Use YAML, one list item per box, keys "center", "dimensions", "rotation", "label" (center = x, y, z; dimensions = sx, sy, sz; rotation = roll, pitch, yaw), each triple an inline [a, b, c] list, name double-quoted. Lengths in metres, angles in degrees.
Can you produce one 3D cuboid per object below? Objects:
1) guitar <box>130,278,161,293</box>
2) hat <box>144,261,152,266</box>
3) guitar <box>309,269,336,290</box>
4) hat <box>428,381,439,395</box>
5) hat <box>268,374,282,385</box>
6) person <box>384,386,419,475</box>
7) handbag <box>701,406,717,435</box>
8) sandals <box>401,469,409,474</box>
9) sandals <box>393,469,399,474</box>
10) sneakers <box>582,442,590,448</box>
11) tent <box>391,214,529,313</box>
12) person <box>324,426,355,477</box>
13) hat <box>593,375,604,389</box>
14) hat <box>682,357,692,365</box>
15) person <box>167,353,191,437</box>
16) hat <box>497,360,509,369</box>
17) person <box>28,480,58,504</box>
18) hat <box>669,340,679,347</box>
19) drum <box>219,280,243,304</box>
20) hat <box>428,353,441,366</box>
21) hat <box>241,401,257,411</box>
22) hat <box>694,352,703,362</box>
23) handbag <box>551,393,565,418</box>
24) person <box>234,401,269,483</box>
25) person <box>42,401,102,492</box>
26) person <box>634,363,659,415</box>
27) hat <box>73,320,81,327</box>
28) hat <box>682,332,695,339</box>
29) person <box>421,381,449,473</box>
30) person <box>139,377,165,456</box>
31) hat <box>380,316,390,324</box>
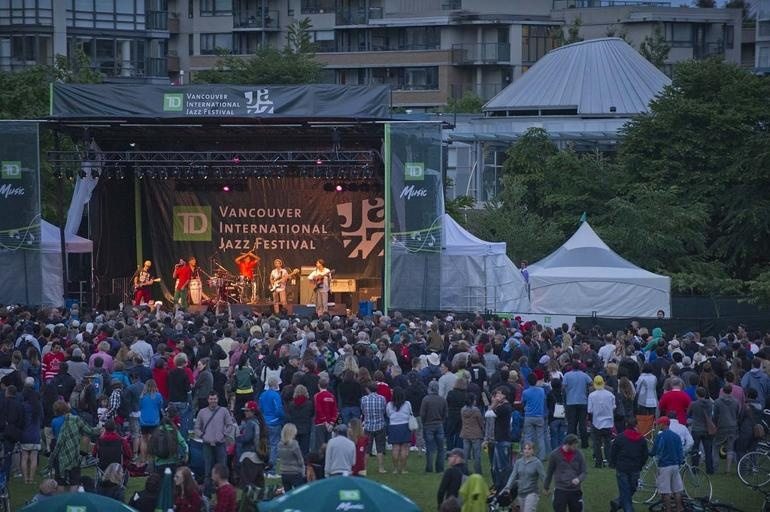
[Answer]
- center: [-10.688, 1.194, 83.946]
  dimensions: [0.895, 0.690, 0.310]
  rotation: [-25, 1, 3]
  label: "guitar"
- center: [-10.469, 0.269, 83.954]
  dimensions: [0.286, 0.277, 0.237]
  rotation: [3, 32, -22]
  label: "hat"
- center: [-2.844, 0.954, 83.174]
  dimensions: [0.937, 1.038, 0.617]
  rotation: [0, 2, -17]
  label: "guitar"
- center: [1.720, 4.782, 68.788]
  dimensions: [0.403, 0.421, 0.431]
  rotation: [1, -6, 4]
  label: "hat"
- center: [-3.950, 4.489, 68.311]
  dimensions: [0.286, 0.363, 0.956]
  rotation: [0, 1, 13]
  label: "hat"
- center: [0.533, 6.351, 68.761]
  dimensions: [1.036, 3.171, 0.838]
  rotation: [0, 2, -2]
  label: "person"
- center: [11.573, 5.965, 68.311]
  dimensions: [0.349, 1.001, 1.011]
  rotation: [-11, 3, 4]
  label: "handbag"
- center: [0.679, 7.911, 68.783]
  dimensions: [0.102, 0.152, 0.232]
  rotation: [3, 5, 20]
  label: "sandals"
- center: [0.375, 7.885, 68.824]
  dimensions: [0.173, 0.171, 0.183]
  rotation: [1, -2, -10]
  label: "sandals"
- center: [7.375, 7.053, 70.224]
  dimensions: [0.238, 0.207, 0.209]
  rotation: [-1, -3, -36]
  label: "sneakers"
- center: [2.477, 0.151, 83.233]
  dimensions: [7.475, 4.202, 7.626]
  rotation: [2, -9, -6]
  label: "tent"
- center: [-1.589, 6.850, 66.006]
  dimensions: [1.101, 1.737, 0.684]
  rotation: [0, 2, -3]
  label: "person"
- center: [7.661, 4.557, 68.399]
  dimensions: [0.396, 0.429, 0.440]
  rotation: [3, 11, 11]
  label: "hat"
- center: [11.011, 3.830, 69.649]
  dimensions: [0.259, 0.287, 0.295]
  rotation: [3, 19, 5]
  label: "hat"
- center: [-7.441, 5.059, 68.736]
  dimensions: [0.864, 3.090, 0.561]
  rotation: [0, 2, -6]
  label: "person"
- center: [4.274, 3.947, 68.845]
  dimensions: [0.419, 0.261, 0.261]
  rotation: [1, 3, -15]
  label: "hat"
- center: [-11.820, 8.108, 65.167]
  dimensions: [0.807, 1.010, 1.065]
  rotation: [7, 12, 8]
  label: "person"
- center: [10.721, 3.236, 70.793]
  dimensions: [0.360, 0.306, 0.603]
  rotation: [0, 1, 8]
  label: "hat"
- center: [-6.861, 1.541, 84.396]
  dimensions: [1.066, 1.003, 0.818]
  rotation: [0, -1, -10]
  label: "drum"
- center: [1.743, 3.793, 69.748]
  dimensions: [0.473, 0.467, 0.326]
  rotation: [0, 2, -7]
  label: "hat"
- center: [-4.784, 5.301, 66.763]
  dimensions: [0.418, 0.224, 0.303]
  rotation: [5, 5, 20]
  label: "hat"
- center: [11.445, 3.725, 69.657]
  dimensions: [0.296, 0.369, 0.379]
  rotation: [9, 15, 26]
  label: "hat"
- center: [6.195, 5.461, 68.715]
  dimensions: [0.939, 0.893, 0.337]
  rotation: [-3, 3, -43]
  label: "handbag"
- center: [-4.666, 6.644, 66.544]
  dimensions: [1.023, 3.001, 1.476]
  rotation: [0, 2, -5]
  label: "person"
- center: [-11.049, 6.777, 66.910]
  dimensions: [1.524, 3.282, 1.077]
  rotation: [0, 2, -10]
  label: "person"
- center: [9.506, 4.874, 69.257]
  dimensions: [0.791, 1.942, 0.585]
  rotation: [0, 2, 6]
  label: "person"
- center: [-11.675, 2.543, 71.897]
  dimensions: [0.238, 0.123, 0.233]
  rotation: [-2, 5, -31]
  label: "hat"
- center: [11.738, 3.078, 73.628]
  dimensions: [0.355, 0.324, 0.538]
  rotation: [4, 5, 8]
  label: "hat"
- center: [1.762, 6.239, 68.672]
  dimensions: [0.848, 3.359, 0.960]
  rotation: [1, 2, 33]
  label: "person"
- center: [-8.413, 5.788, 68.190]
  dimensions: [0.830, 2.743, 0.579]
  rotation: [0, 2, -9]
  label: "person"
- center: [-0.031, 2.449, 73.259]
  dimensions: [0.310, 0.278, 0.305]
  rotation: [-2, 5, 7]
  label: "hat"
